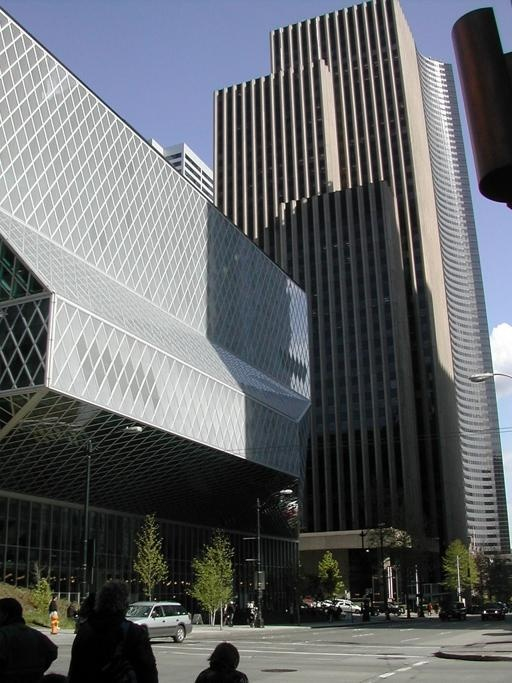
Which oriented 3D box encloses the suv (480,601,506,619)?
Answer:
[{"bbox_3d":[18.142,20.595,52.491,1.398,1.377,3.322,-6,-27,13],"label":"suv"}]
